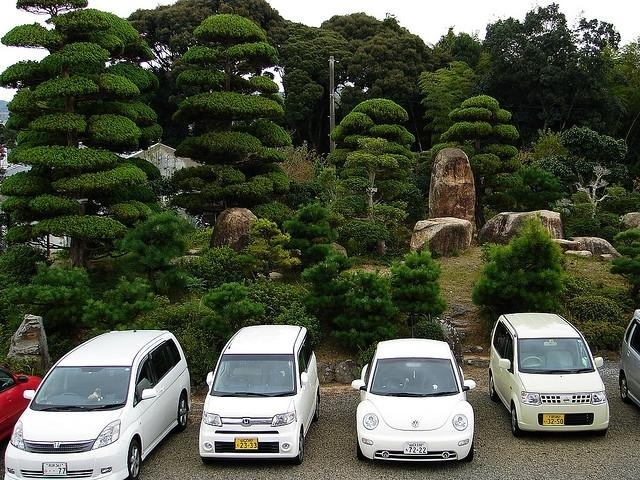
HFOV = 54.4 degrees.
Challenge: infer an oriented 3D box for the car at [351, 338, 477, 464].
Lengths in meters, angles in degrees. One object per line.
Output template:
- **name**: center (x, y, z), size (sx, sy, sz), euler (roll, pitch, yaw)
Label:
- **car**: center (1.938, 3.317, 12.907), size (1.627, 1.247, 2.809), euler (-1, -4, 5)

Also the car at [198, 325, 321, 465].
- **car**: center (-1.231, 3.301, 14.086), size (1.607, 1.535, 3.158), euler (-1, -2, 4)
